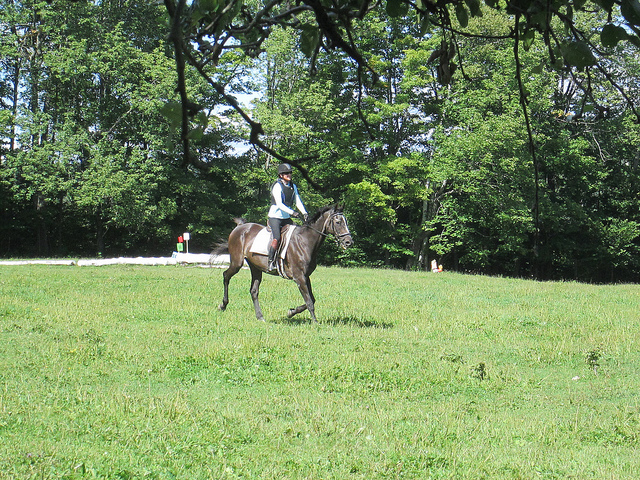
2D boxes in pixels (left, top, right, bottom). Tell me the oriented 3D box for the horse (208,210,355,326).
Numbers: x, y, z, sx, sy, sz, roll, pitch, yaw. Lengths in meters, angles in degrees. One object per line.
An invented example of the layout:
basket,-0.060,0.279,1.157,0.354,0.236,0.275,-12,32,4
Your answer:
horse,-1.187,0.691,18.573,4.864,3.025,1.150,2,0,36
